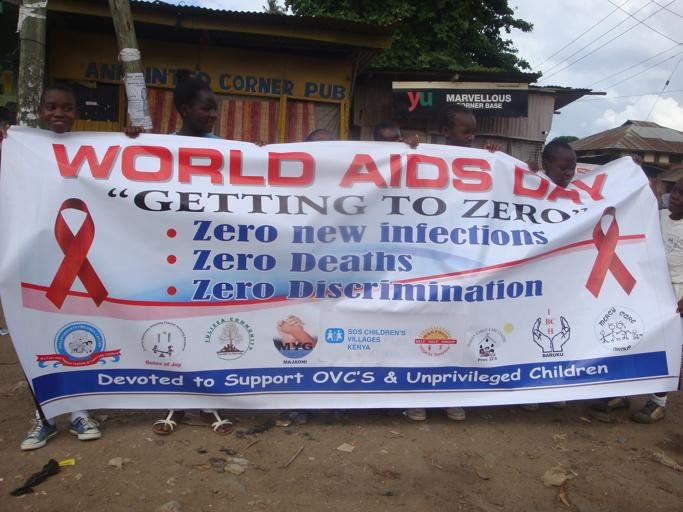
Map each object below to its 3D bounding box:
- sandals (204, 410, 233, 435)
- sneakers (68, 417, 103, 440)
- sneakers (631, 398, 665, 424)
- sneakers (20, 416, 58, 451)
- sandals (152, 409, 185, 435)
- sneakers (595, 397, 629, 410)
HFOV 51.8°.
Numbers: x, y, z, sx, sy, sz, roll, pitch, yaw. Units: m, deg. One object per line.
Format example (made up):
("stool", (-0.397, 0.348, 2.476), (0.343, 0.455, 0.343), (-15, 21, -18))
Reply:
("sandals", (-0.984, 1.303, 5.713), (0.180, 0.139, 0.361), (-3, 10, -25))
("sneakers", (-1.986, 1.329, 5.498), (0.246, 0.161, 0.157), (-1, 10, -13))
("sneakers", (2.640, 1.318, 5.996), (0.364, 0.137, 0.131), (-1, 3, -34))
("sneakers", (-2.322, 1.353, 5.433), (0.260, 0.199, 0.197), (-2, 10, -19))
("sandals", (-1.378, 1.304, 5.650), (0.205, 0.153, 0.292), (1, 9, 0))
("sneakers", (2.336, 1.274, 6.085), (0.234, 0.063, 0.137), (-6, -17, -20))
